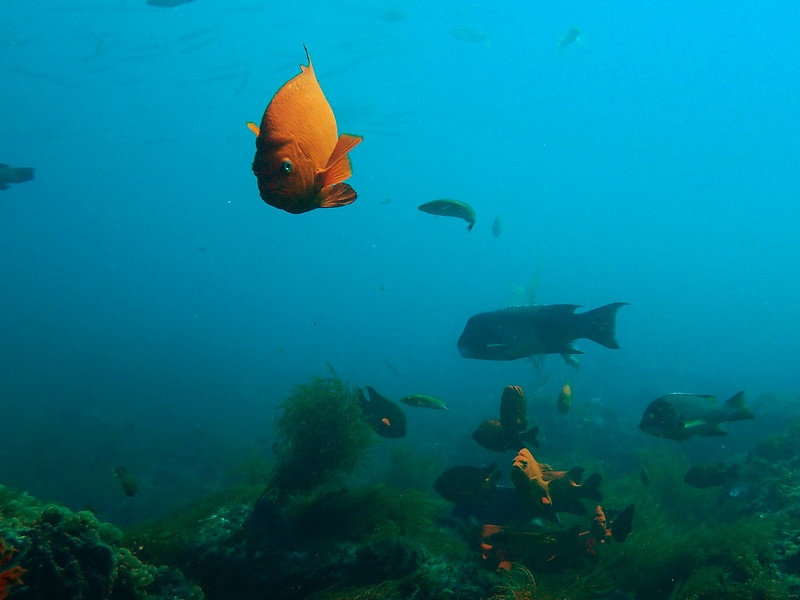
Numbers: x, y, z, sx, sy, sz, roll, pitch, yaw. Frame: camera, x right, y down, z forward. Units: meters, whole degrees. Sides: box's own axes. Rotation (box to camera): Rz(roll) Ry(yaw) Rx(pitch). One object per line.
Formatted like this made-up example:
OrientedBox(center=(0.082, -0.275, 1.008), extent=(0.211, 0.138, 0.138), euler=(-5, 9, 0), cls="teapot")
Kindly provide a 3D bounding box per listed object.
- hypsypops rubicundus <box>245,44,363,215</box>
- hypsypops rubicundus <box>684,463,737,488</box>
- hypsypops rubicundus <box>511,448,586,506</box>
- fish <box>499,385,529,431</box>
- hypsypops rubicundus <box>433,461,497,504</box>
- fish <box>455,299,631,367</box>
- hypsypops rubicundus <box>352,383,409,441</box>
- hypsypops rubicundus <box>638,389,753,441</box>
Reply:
OrientedBox(center=(-1.537, -2.557, 12.196), extent=(1.541, 2.351, 0.402), euler=(-2, 5, -3), cls="hypsypops rubicundus")
OrientedBox(center=(6.759, 3.747, 16.718), extent=(0.845, 0.424, 1.085), euler=(-10, -3, 44), cls="hypsypops rubicundus")
OrientedBox(center=(2.695, 3.607, 15.180), extent=(1.303, 1.238, 1.273), euler=(-6, 12, -25), cls="hypsypops rubicundus")
OrientedBox(center=(2.259, 2.183, 15.587), extent=(0.542, 0.905, 0.249), euler=(0, 8, 29), cls="fish")
OrientedBox(center=(1.381, 3.740, 15.960), extent=(0.975, 0.889, 1.035), euler=(-10, 15, -33), cls="hypsypops rubicundus")
OrientedBox(center=(2.794, 0.626, 15.752), extent=(3.994, 1.340, 0.927), euler=(-4, 33, 5), cls="fish")
OrientedBox(center=(-0.424, 2.560, 17.277), extent=(1.084, 1.146, 0.825), euler=(-3, 6, -5), cls="hypsypops rubicundus")
OrientedBox(center=(6.167, 2.394, 16.184), extent=(2.292, 1.011, 0.720), euler=(-7, 1, 3), cls="hypsypops rubicundus")
